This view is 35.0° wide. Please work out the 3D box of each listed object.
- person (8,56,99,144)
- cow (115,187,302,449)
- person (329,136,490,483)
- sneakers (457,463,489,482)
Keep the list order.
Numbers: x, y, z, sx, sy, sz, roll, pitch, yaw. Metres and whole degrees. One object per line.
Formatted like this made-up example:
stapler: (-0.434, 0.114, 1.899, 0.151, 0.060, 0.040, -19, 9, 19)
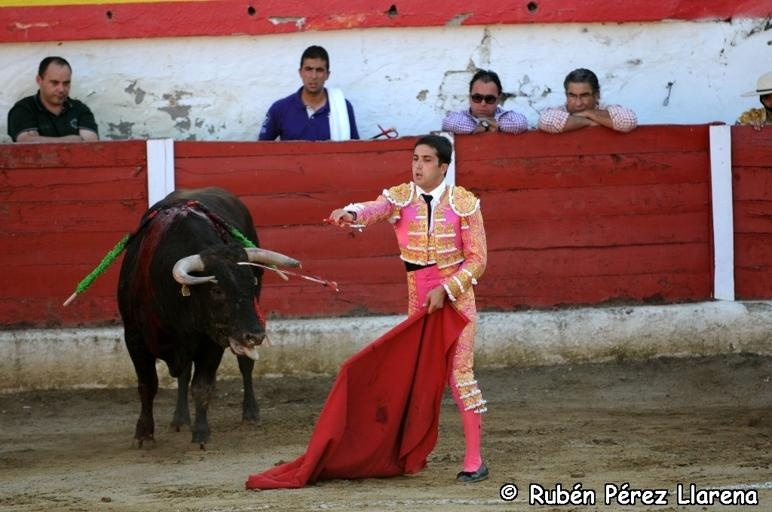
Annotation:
person: (-2.576, -1.200, 9.476, 0.809, 0.712, 0.713, -4, 7, -34)
cow: (-1.167, 0.413, 7.967, 1.057, 1.484, 1.312, -5, 15, -15)
person: (0.284, 0.278, 7.353, 0.905, 1.979, 0.571, 8, 18, 33)
sneakers: (0.518, 1.294, 7.259, 0.215, 0.070, 0.075, 1, -2, -33)
